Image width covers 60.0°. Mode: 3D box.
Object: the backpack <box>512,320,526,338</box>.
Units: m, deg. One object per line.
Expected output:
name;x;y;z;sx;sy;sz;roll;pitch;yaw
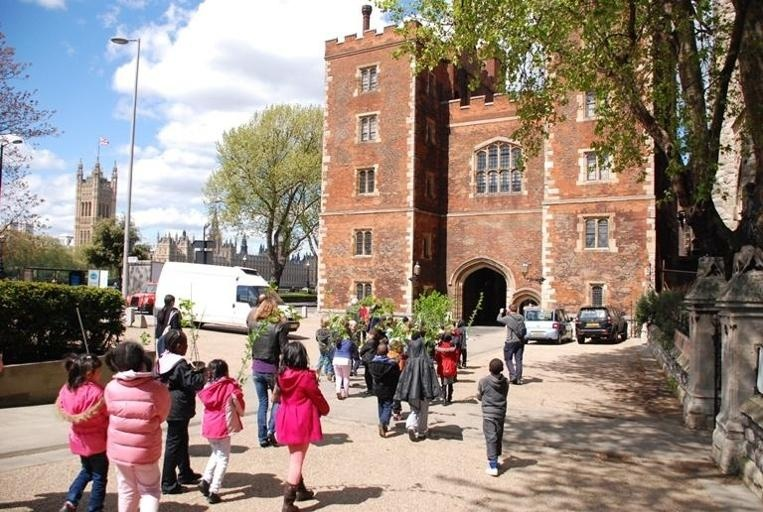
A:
backpack;3.892;2.061;18.811;0.290;0.562;0.483;4;2;-7

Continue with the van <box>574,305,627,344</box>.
van;9.667;2.980;29.152;1.947;1.619;2.476;0;-3;18

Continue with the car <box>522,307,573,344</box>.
car;7.137;2.985;28.712;1.644;1.531;1.960;0;-3;19

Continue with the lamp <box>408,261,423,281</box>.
lamp;1.879;0.809;36.948;0.713;1.159;1.474;0;-3;2

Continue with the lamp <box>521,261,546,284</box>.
lamp;8.231;0.928;35.446;1.283;1.571;0.788;3;2;6

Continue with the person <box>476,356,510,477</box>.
person;2.023;2.908;12.102;0.486;2.039;0.637;0;-3;22
